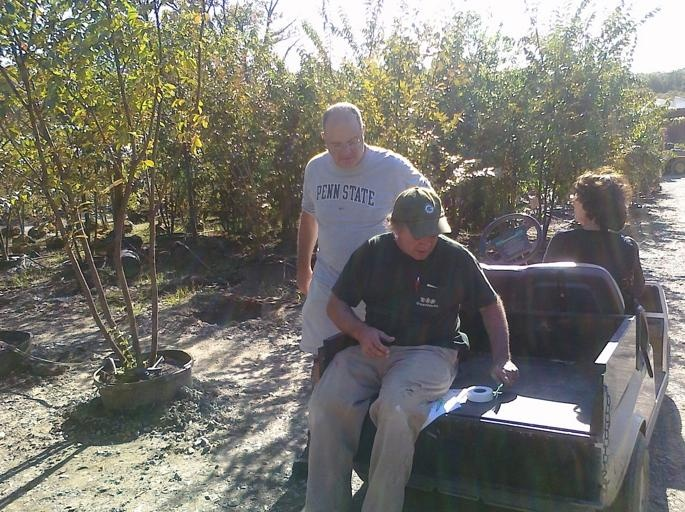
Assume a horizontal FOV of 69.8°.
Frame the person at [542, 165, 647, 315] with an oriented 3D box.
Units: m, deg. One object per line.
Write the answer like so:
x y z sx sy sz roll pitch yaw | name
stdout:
2.311 -0.086 4.482 0.821 1.520 1.083 5 -14 17 | person

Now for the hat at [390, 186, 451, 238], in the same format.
0.477 -0.282 3.038 0.250 0.220 0.348 -10 27 -29 | hat

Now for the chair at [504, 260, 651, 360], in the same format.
1.512 0.378 3.476 0.557 0.541 0.833 4 28 17 | chair

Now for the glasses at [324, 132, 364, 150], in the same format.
0.013 -0.775 3.351 0.260 0.092 0.132 -1 12 -2 | glasses
